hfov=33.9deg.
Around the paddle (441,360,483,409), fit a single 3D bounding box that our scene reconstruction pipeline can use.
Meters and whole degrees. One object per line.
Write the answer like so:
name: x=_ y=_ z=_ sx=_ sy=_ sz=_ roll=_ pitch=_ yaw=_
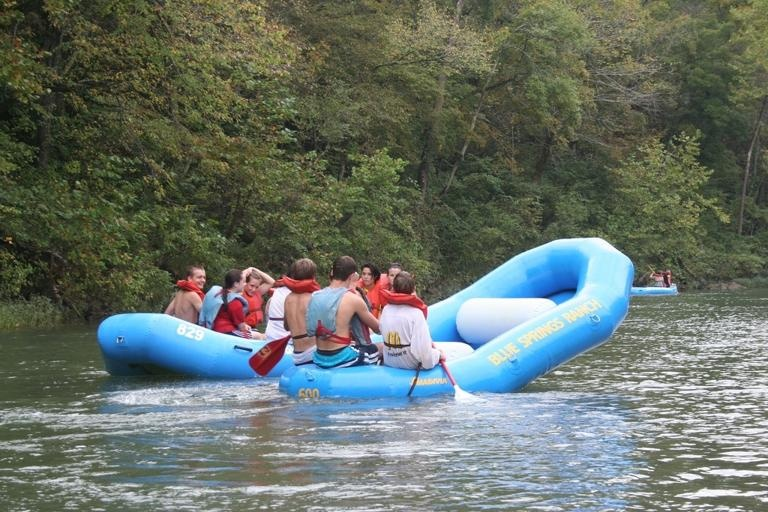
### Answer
paddle: x=1.475 y=2.628 z=25.088 sx=0.437 sy=1.179 sz=0.064 roll=-29 pitch=-33 yaw=-11
